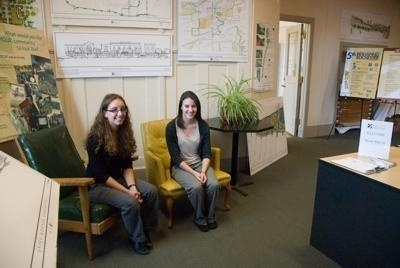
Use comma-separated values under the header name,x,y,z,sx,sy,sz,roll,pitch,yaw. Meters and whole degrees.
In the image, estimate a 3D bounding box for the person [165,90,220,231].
name,x,y,z,sx,sy,sz,roll,pitch,yaw
person,-0.093,0.279,2.922,0.516,1.438,0.644,-4,16,-8

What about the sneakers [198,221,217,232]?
name,x,y,z,sx,sy,sz,roll,pitch,yaw
sneakers,0.095,1.003,2.869,0.236,0.064,0.101,-5,16,-10

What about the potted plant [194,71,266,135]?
name,x,y,z,sx,sy,sz,roll,pitch,yaw
potted plant,0.498,-0.423,3.841,0.826,0.621,0.836,-1,4,-42

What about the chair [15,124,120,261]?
name,x,y,z,sx,sy,sz,roll,pitch,yaw
chair,-1.197,0.506,2.683,0.909,1.006,0.826,8,15,8

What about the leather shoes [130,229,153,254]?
name,x,y,z,sx,sy,sz,roll,pitch,yaw
leather shoes,-0.565,1.049,2.591,0.210,0.154,0.259,-9,17,-24

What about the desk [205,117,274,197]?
name,x,y,z,sx,sy,sz,roll,pitch,yaw
desk,0.501,0.275,3.871,0.980,0.914,0.971,-11,24,-31
